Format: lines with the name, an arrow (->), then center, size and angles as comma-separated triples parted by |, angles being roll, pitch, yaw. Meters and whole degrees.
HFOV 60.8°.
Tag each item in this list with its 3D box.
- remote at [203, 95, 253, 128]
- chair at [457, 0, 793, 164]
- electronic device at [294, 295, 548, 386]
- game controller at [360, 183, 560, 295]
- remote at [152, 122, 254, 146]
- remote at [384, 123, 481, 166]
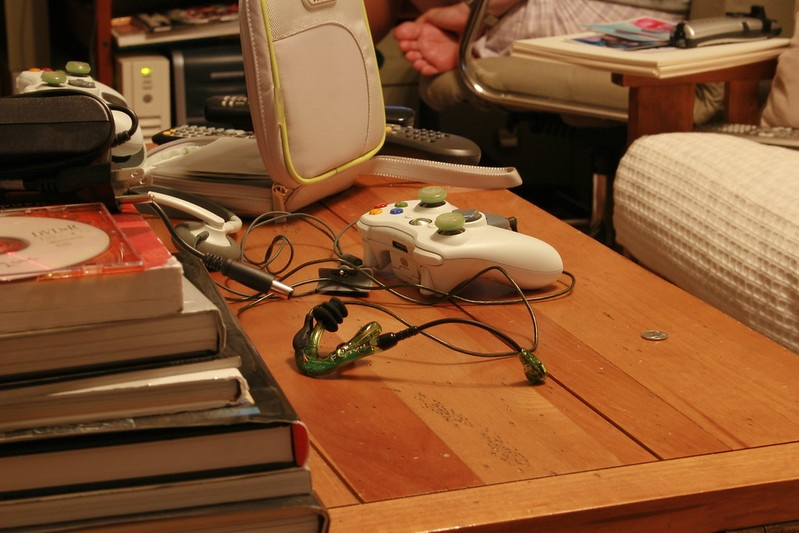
remote -> -0.304, -0.283, 1.268 | 0.104, 0.028, 0.078 | 2, 44, -2
chair -> 0.527, -0.436, 1.542 | 0.564, 0.304, 0.742 | -6, 26, -9
electronic device -> 0.023, 0.084, 0.747 | 0.279, 0.042, 0.083 | 2, 43, 0
game controller -> 0.064, -0.040, 0.902 | 0.178, 0.083, 0.249 | -20, 33, -30
remote -> -0.359, -0.248, 1.257 | 0.160, 0.016, 0.071 | 2, 19, 10
remote -> 0.049, -0.228, 1.262 | 0.183, 0.033, 0.075 | 9, 24, 14
